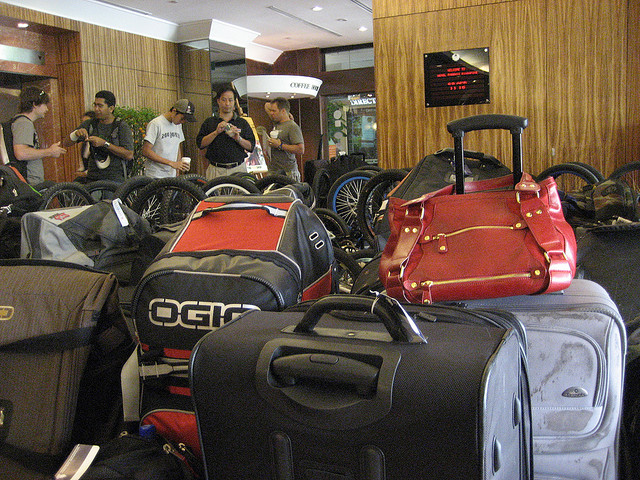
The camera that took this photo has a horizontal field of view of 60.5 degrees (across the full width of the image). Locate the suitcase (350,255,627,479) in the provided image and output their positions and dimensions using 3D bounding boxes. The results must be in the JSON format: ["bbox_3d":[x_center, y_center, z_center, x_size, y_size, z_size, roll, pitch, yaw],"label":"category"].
[{"bbox_3d":[0.420,0.266,1.486,0.680,0.727,0.423,0,8,21],"label":"suitcase"}]

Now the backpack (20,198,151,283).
[{"bbox_3d":[-0.956,-0.016,2.228,0.432,0.204,0.357,9,16,8],"label":"backpack"}]

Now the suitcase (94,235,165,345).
[{"bbox_3d":[-0.734,0.118,2.110,0.277,0.425,0.401,-5,11,-23],"label":"suitcase"}]

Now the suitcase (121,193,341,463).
[{"bbox_3d":[-0.243,0.306,1.894,0.592,0.913,0.864,3,5,15],"label":"suitcase"}]

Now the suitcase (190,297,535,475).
[{"bbox_3d":[0.082,0.284,1.034,0.324,0.263,0.189,1,14,21],"label":"suitcase"}]

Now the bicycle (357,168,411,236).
[{"bbox_3d":[0.438,-0.230,3.513,0.083,0.400,0.369,8,2,-24],"label":"bicycle"}]

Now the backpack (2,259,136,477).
[{"bbox_3d":[-0.722,0.367,1.552,0.409,0.546,0.296,6,14,16],"label":"backpack"}]

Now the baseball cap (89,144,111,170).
[{"bbox_3d":[-1.860,-0.708,4.660,0.133,0.215,0.079,3,9,9],"label":"baseball cap"}]

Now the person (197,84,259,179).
[{"bbox_3d":[-0.801,-0.918,4.674,0.464,0.757,0.392,2,12,16],"label":"person"}]

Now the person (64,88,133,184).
[{"bbox_3d":[-1.888,-0.825,4.707,0.484,0.881,0.440,4,13,-5],"label":"person"}]

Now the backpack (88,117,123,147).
[{"bbox_3d":[-1.823,-0.977,4.798,0.217,0.309,0.292,8,25,3],"label":"backpack"}]

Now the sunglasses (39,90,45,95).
[{"bbox_3d":[-2.260,-1.197,4.473,0.035,0.028,0.184,-7,15,-24],"label":"sunglasses"}]

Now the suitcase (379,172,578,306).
[{"bbox_3d":[0.405,0.017,1.457,0.493,0.420,0.293,-4,-21,14],"label":"suitcase"}]
